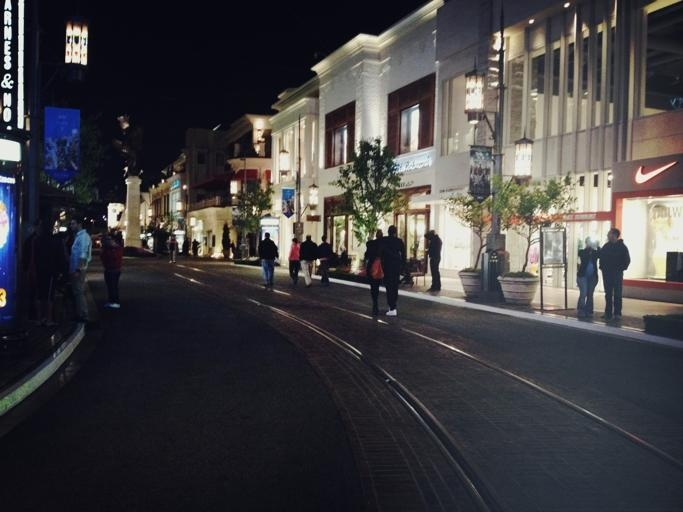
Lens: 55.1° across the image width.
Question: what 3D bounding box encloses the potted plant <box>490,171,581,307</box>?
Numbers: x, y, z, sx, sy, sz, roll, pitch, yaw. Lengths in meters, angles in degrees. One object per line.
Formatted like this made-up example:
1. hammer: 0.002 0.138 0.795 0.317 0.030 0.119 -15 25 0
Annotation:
1. potted plant: 5.893 -0.459 21.246 2.609 4.122 2.582 -4 -26 41

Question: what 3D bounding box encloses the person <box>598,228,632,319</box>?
1. person: 6.912 0.428 16.572 0.705 2.229 0.847 3 5 24

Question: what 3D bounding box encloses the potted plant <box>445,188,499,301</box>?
1. potted plant: 5.138 -0.621 24.365 1.406 3.712 2.103 0 5 -21

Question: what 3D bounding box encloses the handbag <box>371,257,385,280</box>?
1. handbag: 0.921 0.309 16.385 0.278 0.583 0.338 2 5 22

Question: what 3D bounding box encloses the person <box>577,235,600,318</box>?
1. person: 6.393 0.535 16.977 0.486 1.980 1.184 2 4 21
